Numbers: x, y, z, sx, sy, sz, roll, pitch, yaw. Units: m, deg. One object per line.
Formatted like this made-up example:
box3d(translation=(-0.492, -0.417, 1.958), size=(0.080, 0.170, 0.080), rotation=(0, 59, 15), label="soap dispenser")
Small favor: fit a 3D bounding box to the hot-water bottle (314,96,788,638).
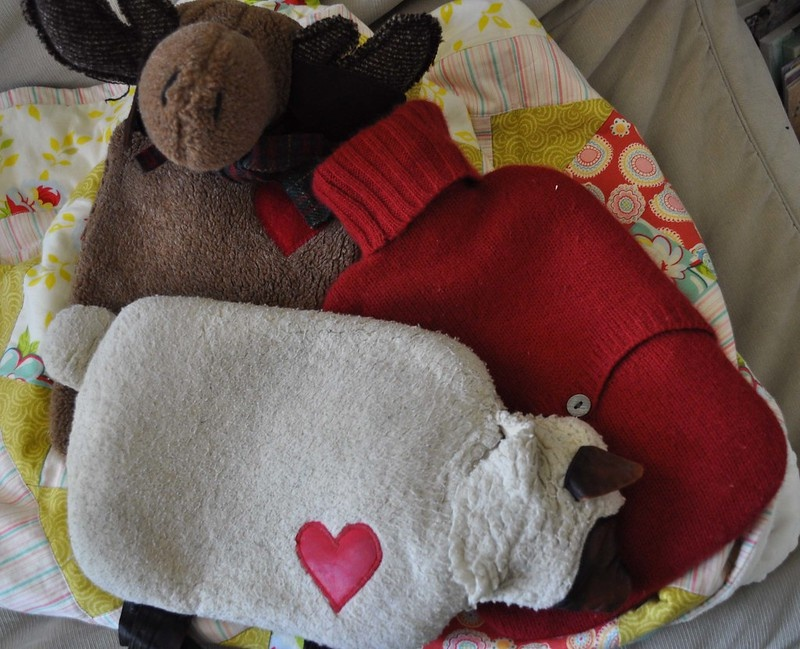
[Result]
box3d(translation=(0.157, 0.002, 0.942), size=(0.385, 0.161, 0.566), rotation=(-34, 87, 2), label="hot-water bottle")
